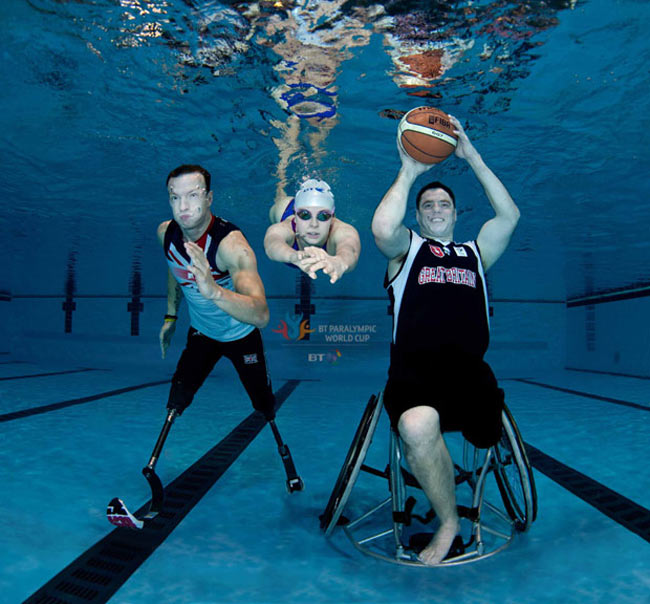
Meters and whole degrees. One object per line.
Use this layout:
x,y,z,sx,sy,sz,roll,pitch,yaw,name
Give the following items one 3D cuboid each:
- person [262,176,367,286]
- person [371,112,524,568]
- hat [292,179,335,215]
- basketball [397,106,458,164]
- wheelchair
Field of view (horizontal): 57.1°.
-0.071,-0.360,3.513,0.443,0.408,1.153,2,29,-3,person
0.675,0.144,3.272,0.800,2.404,0.537,-2,7,-32,person
-0.065,-0.694,3.821,0.239,0.221,0.237,1,5,-3,hat
0.561,-0.922,3.269,0.438,0.322,0.324,-4,10,-3,basketball
0.744,0.850,3.610,1.102,1.066,1.035,-3,-3,12,wheelchair
